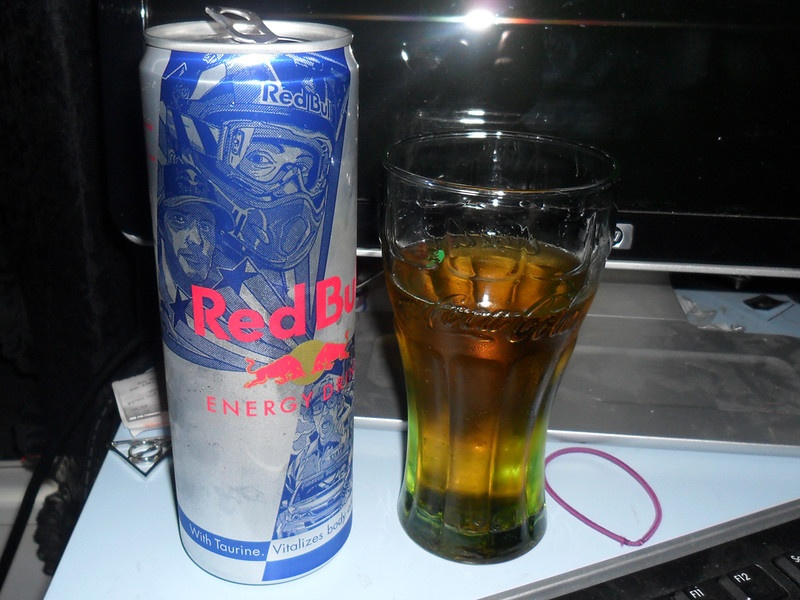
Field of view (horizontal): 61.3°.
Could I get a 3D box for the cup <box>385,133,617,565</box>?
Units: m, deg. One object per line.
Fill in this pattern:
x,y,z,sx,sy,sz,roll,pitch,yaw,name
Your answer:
0.060,0.054,0.536,0.173,0.314,0.106,9,27,11,cup

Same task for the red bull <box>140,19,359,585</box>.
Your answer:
-0.097,0.019,0.486,0.139,0.392,0.118,-5,28,-17,red bull

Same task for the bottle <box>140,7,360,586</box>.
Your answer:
-0.095,0.001,0.536,0.171,0.398,0.159,3,23,-1,bottle

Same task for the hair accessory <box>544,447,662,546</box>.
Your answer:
0.174,0.178,0.625,0.086,0.061,0.100,1,8,1,hair accessory

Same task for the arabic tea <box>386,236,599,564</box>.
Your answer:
0.060,0.077,0.600,0.156,0.278,0.145,5,24,2,arabic tea
